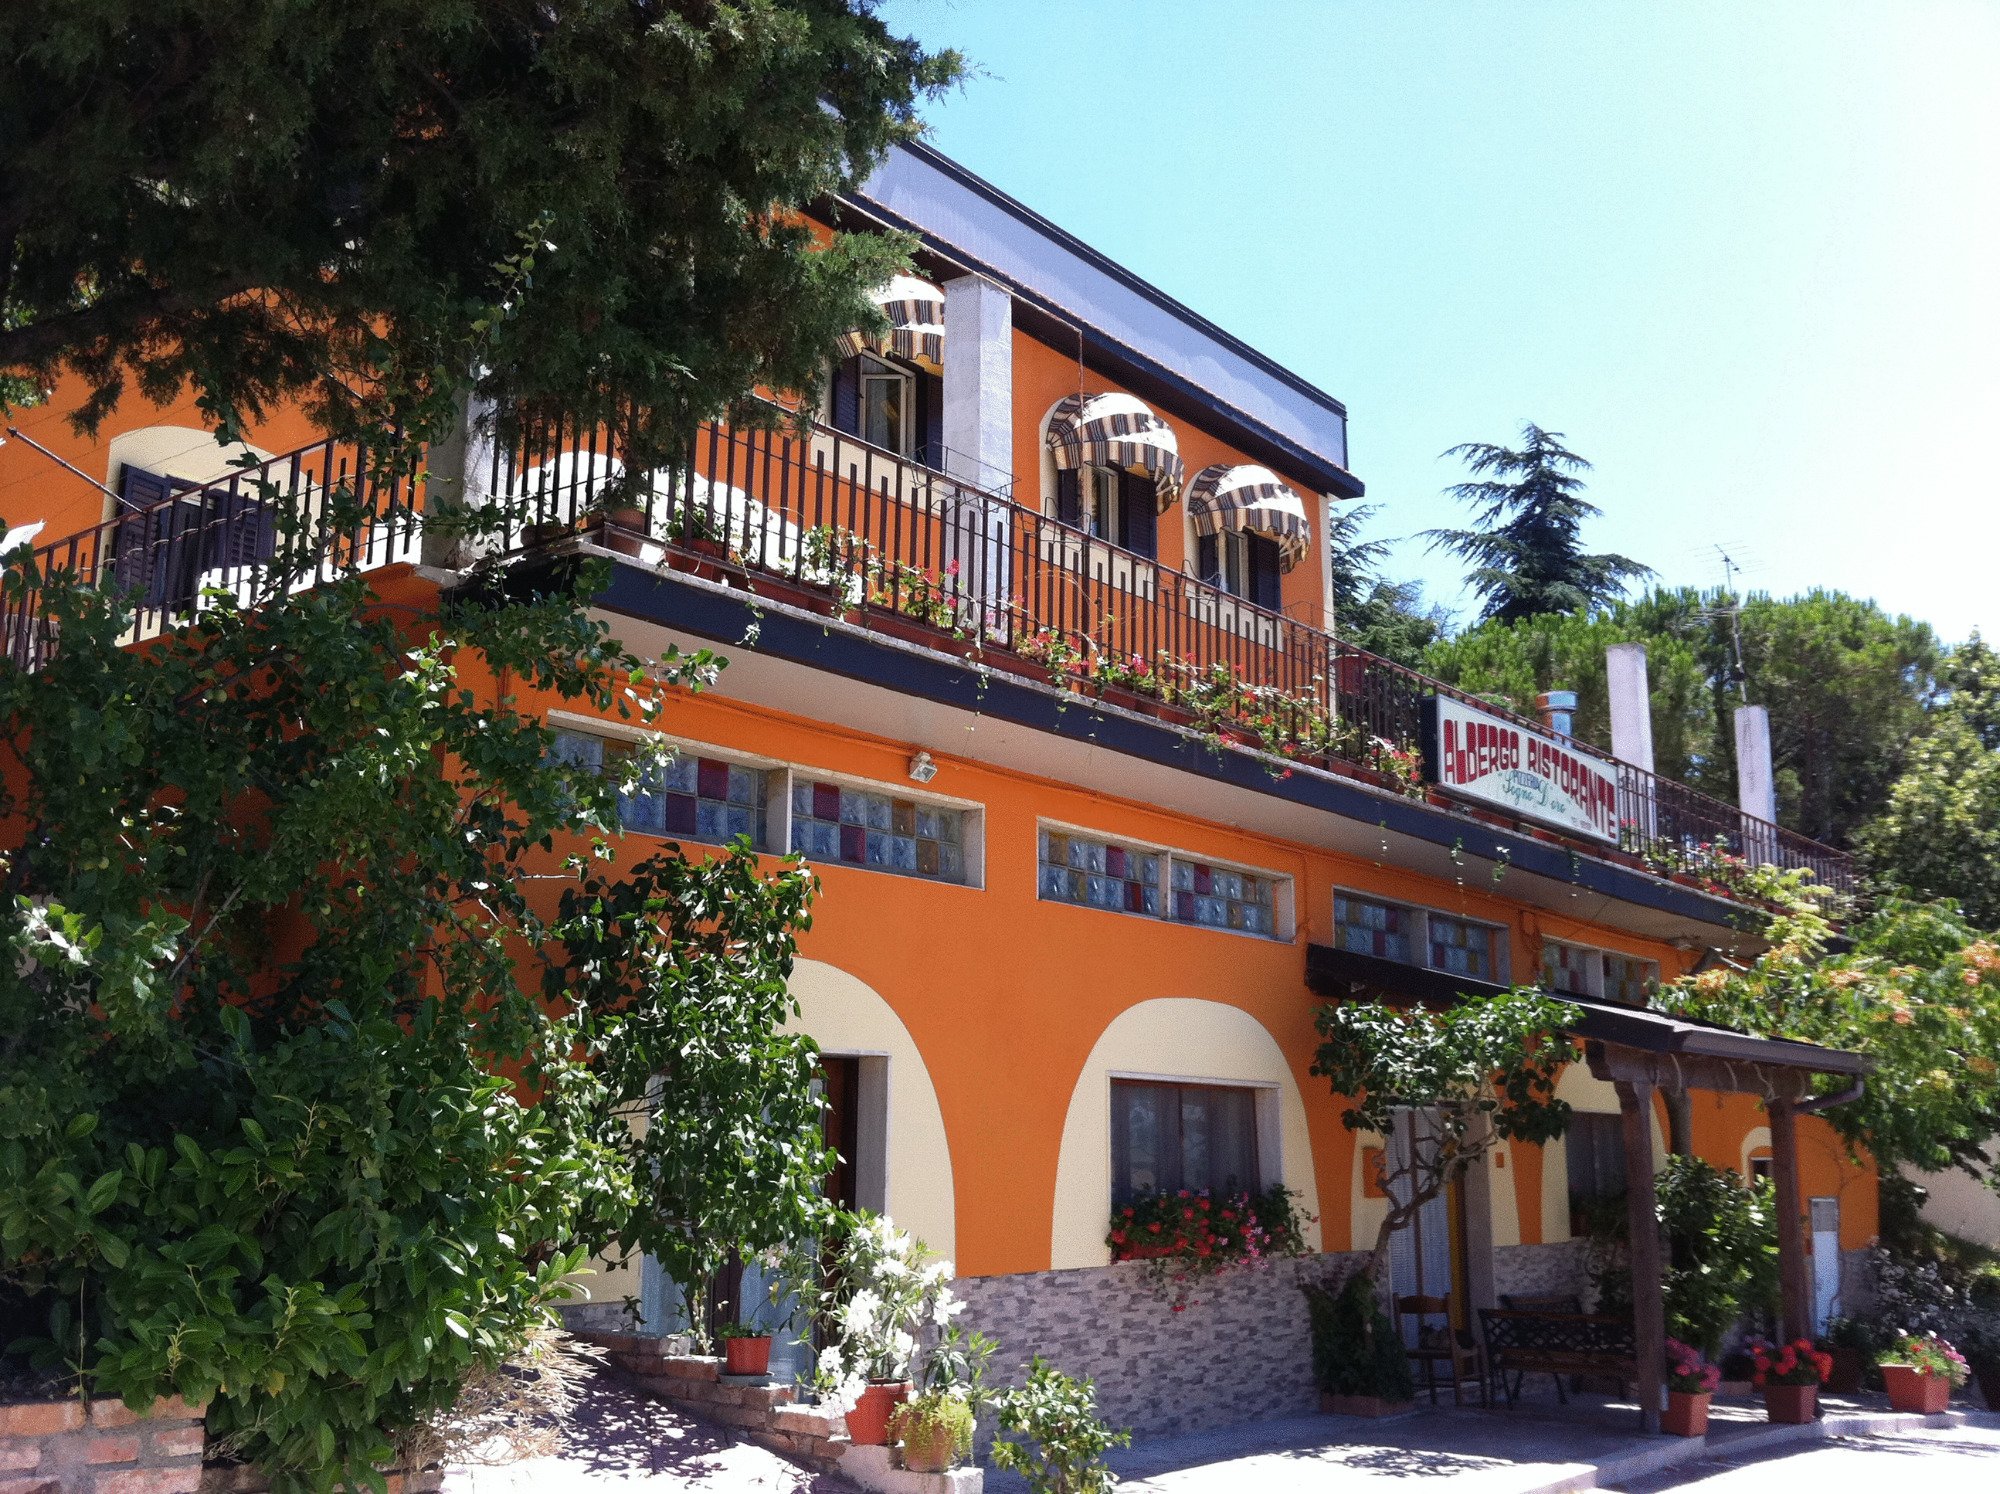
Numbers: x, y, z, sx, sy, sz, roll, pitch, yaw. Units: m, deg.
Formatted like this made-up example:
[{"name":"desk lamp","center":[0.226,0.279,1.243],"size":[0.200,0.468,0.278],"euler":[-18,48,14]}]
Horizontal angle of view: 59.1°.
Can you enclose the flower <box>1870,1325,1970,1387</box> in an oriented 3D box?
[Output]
[{"name":"flower","center":[9.957,6.567,19.177],"size":[0.808,0.681,0.882],"euler":[-9,-24,41]}]

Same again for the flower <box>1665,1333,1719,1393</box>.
[{"name":"flower","center":[6.343,5.708,16.338],"size":[0.384,0.439,0.558],"euler":[-7,-22,19]}]

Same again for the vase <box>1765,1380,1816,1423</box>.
[{"name":"vase","center":[7.755,6.382,17.330],"size":[0.367,0.318,0.394],"euler":[-3,-19,9]}]

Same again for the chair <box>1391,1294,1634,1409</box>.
[{"name":"chair","center":[5.083,5.972,17.689],"size":[2.107,1.181,3.039],"euler":[-5,-22,15]}]

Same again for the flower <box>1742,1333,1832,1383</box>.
[{"name":"flower","center":[7.818,6.128,17.813],"size":[0.506,0.435,0.582],"euler":[5,-16,-6]}]

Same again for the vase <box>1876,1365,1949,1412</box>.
[{"name":"vase","center":[9.689,6.890,18.869],"size":[0.454,0.438,0.538],"euler":[18,-19,-41]}]

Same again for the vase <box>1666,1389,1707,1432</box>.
[{"name":"vase","center":[6.189,6.011,16.005],"size":[0.347,0.311,0.310],"euler":[-8,-26,29]}]

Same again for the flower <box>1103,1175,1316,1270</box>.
[{"name":"flower","center":[1.821,4.113,15.412],"size":[0.689,0.866,2.358],"euler":[-15,-26,37]}]
